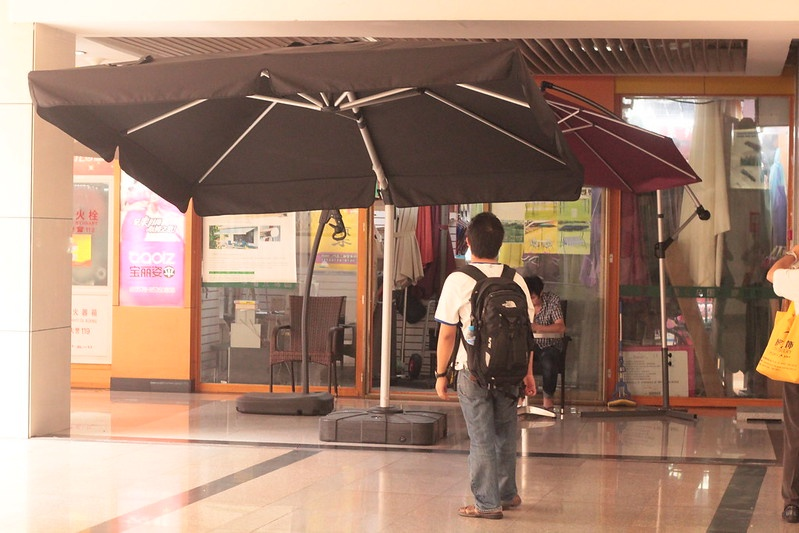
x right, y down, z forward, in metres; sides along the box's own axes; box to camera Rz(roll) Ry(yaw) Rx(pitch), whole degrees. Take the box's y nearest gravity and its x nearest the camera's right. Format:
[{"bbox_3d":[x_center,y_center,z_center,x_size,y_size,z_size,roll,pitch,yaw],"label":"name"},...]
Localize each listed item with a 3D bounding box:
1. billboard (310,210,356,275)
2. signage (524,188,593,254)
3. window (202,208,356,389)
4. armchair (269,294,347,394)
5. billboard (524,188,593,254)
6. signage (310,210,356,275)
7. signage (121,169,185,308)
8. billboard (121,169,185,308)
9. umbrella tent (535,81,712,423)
[{"bbox_3d":[-0.804,-0.267,9.841,0.774,0.926,0.099,1,-8,6],"label":"billboard"},{"bbox_3d":[1.913,-0.521,9.290,0.770,0.808,0.034,1,0,6],"label":"signage"},{"bbox_3d":[-1.441,0.418,10.123,2.222,2.460,0.093,0,-4,12],"label":"window"},{"bbox_3d":[-1.072,0.987,10.337,1.037,1.589,1.176,0,-6,9],"label":"armchair"},{"bbox_3d":[1.913,-0.521,9.290,0.770,0.808,0.034,1,0,6],"label":"billboard"},{"bbox_3d":[-0.804,-0.267,9.841,0.774,0.926,0.099,1,-8,6],"label":"signage"},{"bbox_3d":[-3.302,-0.335,10.531,1.016,1.754,0.316,2,5,19],"label":"signage"},{"bbox_3d":[-3.302,-0.335,10.531,1.016,1.754,0.316,2,5,19],"label":"billboard"},{"bbox_3d":[2.597,-0.064,9.012,2.144,3.693,1.109,-2,6,-28],"label":"umbrella tent"}]
